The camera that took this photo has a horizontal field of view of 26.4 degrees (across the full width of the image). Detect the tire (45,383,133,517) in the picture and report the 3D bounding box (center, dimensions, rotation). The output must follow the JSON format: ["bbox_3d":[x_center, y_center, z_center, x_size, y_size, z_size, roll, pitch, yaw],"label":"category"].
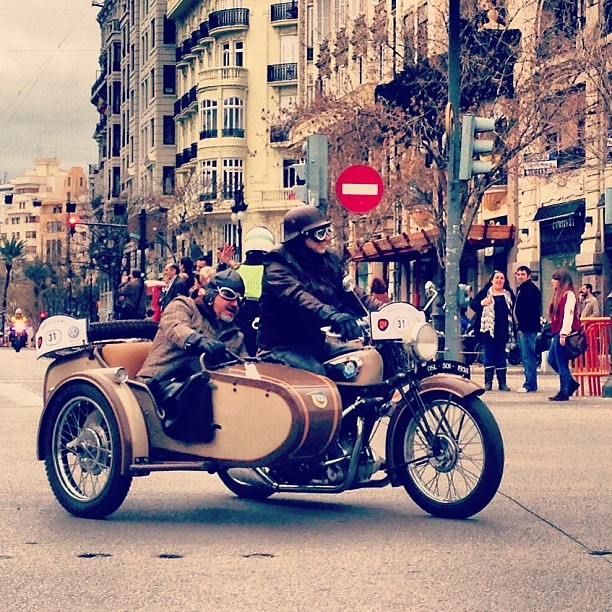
[{"bbox_3d":[-1.359,0.893,8.152,0.189,0.683,0.569,-6,-13,-39],"label":"tire"}]

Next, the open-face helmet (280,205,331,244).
[{"bbox_3d":[-0.015,-0.495,8.163,0.247,0.161,0.205,-25,5,10],"label":"open-face helmet"}]

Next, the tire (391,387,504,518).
[{"bbox_3d":[0.852,0.914,7.992,0.557,0.695,0.170,-20,-9,41],"label":"tire"}]

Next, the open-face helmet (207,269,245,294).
[{"bbox_3d":[-0.519,-0.168,8.415,0.140,0.195,0.203,6,13,-30],"label":"open-face helmet"}]

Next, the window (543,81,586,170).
[{"bbox_3d":[5.441,-3.862,27.678,1.054,1.828,1.171,-8,0,-1],"label":"window"}]

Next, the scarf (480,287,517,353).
[{"bbox_3d":[2.669,0.189,18.434,0.495,0.859,0.302,2,-1,6],"label":"scarf"}]

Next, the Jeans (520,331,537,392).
[{"bbox_3d":[3.146,0.778,18.475,0.211,0.901,0.283,-2,3,-21],"label":"Jeans"}]

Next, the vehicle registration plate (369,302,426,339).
[{"bbox_3d":[0.552,0.100,7.831,0.365,0.229,0.144,0,1,-13],"label":"vehicle registration plate"}]

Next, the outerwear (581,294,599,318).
[{"bbox_3d":[5.261,0.013,24.203,0.406,0.512,0.249,-1,5,-15],"label":"outerwear"}]

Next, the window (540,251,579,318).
[{"bbox_3d":[6.595,-0.610,33.691,0.883,2.051,0.970,3,-3,-2],"label":"window"}]

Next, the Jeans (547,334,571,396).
[{"bbox_3d":[3.355,0.808,17.195,0.260,0.817,0.526,0,1,4],"label":"Jeans"}]

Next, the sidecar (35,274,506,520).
[{"bbox_3d":[-0.278,0.696,8.159,2.168,1.339,1.615,-2,-3,23],"label":"sidecar"}]
